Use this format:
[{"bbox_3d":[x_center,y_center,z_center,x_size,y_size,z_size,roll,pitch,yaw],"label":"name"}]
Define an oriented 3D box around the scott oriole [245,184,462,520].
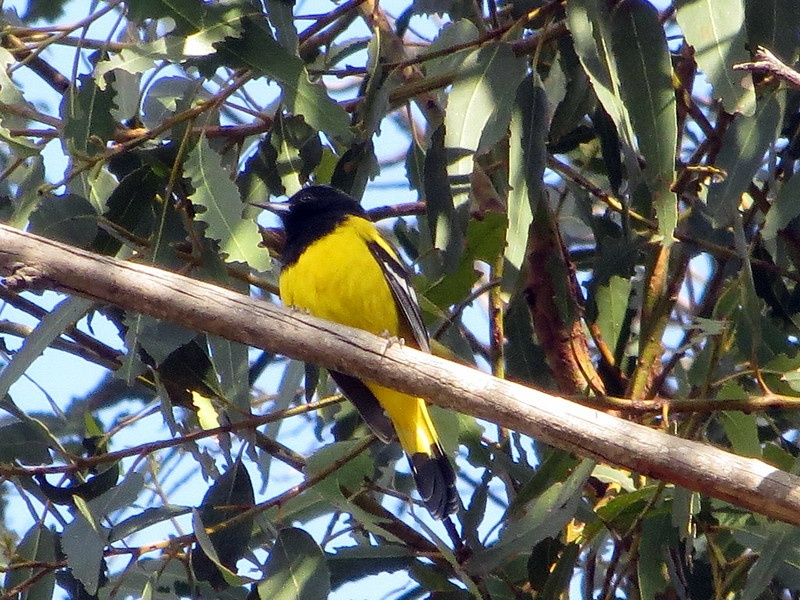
[{"bbox_3d":[-0.200,0.188,5.879,0.682,1.832,0.575,-11,-23,1],"label":"scott oriole"}]
